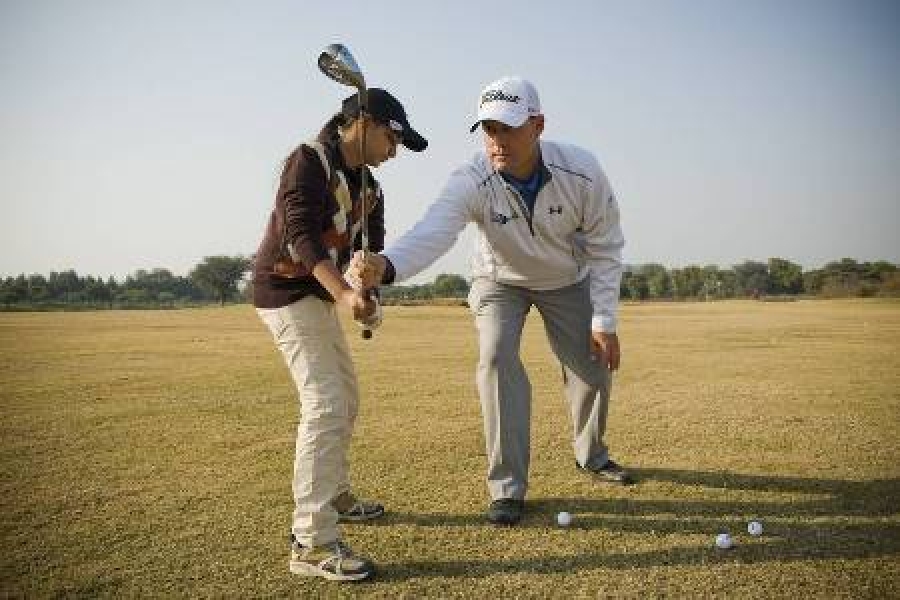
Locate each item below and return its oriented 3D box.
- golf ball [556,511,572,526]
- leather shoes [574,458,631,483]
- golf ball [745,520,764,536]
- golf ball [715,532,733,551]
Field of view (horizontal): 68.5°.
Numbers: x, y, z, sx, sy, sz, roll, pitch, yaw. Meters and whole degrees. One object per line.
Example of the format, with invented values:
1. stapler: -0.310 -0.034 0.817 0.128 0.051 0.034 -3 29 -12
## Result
1. golf ball: 1.017 1.946 5.921 0.141 0.100 0.115 -1 2 9
2. leather shoes: 1.558 1.723 6.664 0.505 0.205 0.190 -1 2 43
3. golf ball: 2.679 1.977 5.761 0.198 0.097 0.121 -2 2 -24
4. golf ball: 2.332 2.038 5.628 0.153 0.098 0.154 -1 2 0
